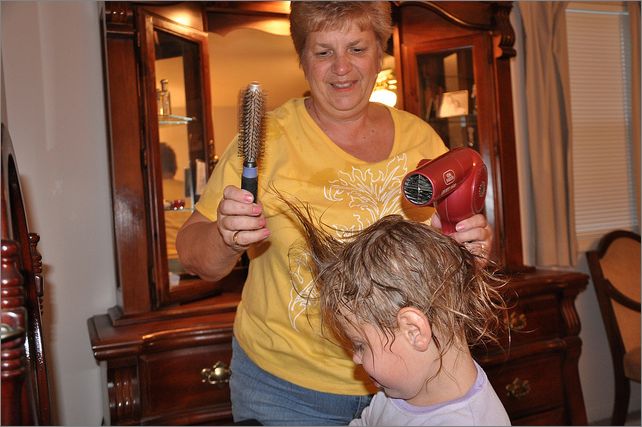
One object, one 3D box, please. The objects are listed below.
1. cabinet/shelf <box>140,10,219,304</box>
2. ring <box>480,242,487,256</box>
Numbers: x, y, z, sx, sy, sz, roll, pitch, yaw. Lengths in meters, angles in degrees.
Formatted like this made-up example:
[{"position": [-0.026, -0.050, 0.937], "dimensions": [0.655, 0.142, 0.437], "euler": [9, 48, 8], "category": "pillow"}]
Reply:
[{"position": [-0.691, -0.277, 2.748], "dimensions": [0.181, 1.443, 0.427], "euler": [-15, -14, 39], "category": "cabinet/shelf"}, {"position": [0.521, 0.113, 1.865], "dimensions": [0.019, 0.032, 0.032], "euler": [-14, 45, -2], "category": "ring"}]
